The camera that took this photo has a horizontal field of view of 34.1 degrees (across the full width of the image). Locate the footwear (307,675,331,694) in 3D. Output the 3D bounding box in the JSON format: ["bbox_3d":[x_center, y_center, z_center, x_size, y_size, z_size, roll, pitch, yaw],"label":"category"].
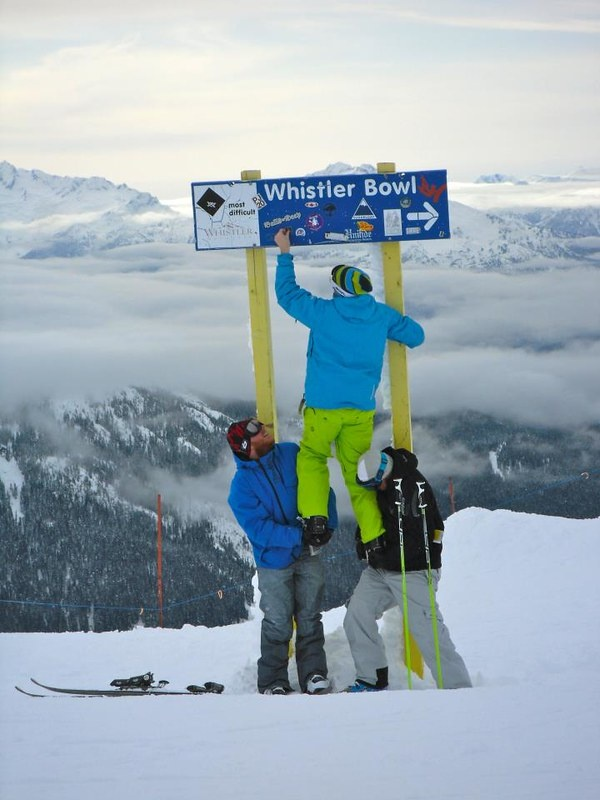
[{"bbox_3d":[0.094,1.442,4.956,0.120,0.086,0.189,-3,-2,-7],"label":"footwear"}]

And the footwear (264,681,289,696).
[{"bbox_3d":[-0.120,1.463,4.933,0.096,0.104,0.247,4,-18,-7],"label":"footwear"}]

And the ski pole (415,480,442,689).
[{"bbox_3d":[0.643,0.904,4.827,0.064,0.642,0.198,-4,-2,7],"label":"ski pole"}]

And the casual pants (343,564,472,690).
[{"bbox_3d":[0.510,1.108,5.005,0.615,0.839,0.259,0,12,14],"label":"casual pants"}]

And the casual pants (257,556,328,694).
[{"bbox_3d":[-0.030,1.187,5.272,0.365,0.918,0.229,2,21,0],"label":"casual pants"}]

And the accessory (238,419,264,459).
[{"bbox_3d":[-0.255,0.198,5.074,0.109,0.205,0.118,-5,-3,40],"label":"accessory"}]

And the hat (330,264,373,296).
[{"bbox_3d":[0.273,-0.612,5.182,0.157,0.195,0.156,2,-29,-27],"label":"hat"}]
